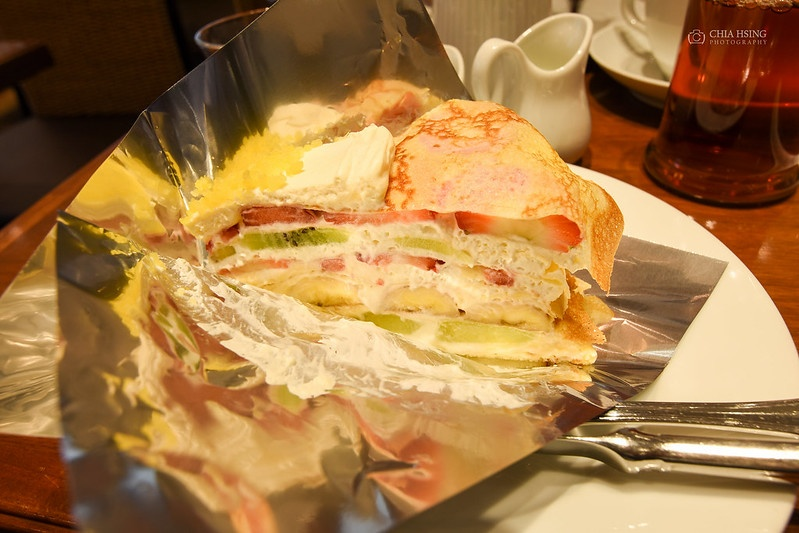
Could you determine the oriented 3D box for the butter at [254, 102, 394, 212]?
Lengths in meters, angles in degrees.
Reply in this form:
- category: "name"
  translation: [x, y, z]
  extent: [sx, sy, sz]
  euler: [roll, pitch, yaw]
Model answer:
- category: "butter"
  translation: [-0.150, -0.212, 1.198]
  extent: [0.216, 0.079, 0.167]
  euler: [8, 62, 19]
